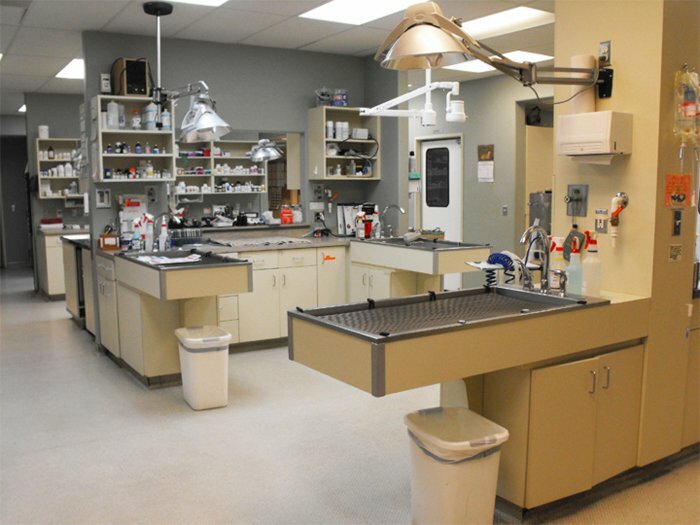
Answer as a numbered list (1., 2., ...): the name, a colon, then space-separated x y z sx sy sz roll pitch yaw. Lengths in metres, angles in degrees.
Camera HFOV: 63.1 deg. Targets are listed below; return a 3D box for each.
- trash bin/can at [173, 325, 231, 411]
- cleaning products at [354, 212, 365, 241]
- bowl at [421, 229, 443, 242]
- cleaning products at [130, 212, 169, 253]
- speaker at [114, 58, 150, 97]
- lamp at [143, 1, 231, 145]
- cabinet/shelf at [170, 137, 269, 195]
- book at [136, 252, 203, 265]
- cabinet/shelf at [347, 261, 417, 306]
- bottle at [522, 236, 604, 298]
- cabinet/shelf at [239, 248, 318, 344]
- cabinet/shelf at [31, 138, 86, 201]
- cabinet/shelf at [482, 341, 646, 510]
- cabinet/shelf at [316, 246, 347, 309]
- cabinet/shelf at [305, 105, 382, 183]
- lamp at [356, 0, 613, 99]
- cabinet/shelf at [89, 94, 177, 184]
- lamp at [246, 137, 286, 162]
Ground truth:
1. trash bin/can: -1.147 0.831 4.484 0.417 0.548 0.432 -4 7 -36
2. cleaning products: 0.109 -0.413 6.235 0.087 0.262 0.098 0 10 6
3. bowl: 0.896 -0.294 6.166 0.209 0.128 0.200 0 3 0
4. cleaning products: -1.943 -0.301 5.535 0.334 0.369 0.875 -5 11 -23
5. speaker: -2.126 -1.836 5.637 0.281 0.349 0.303 2 24 -10
6. lamp: -1.549 -1.714 5.240 0.597 1.208 1.739 -4 11 -19
7. cabinet/shelf: -1.720 -1.226 7.261 1.135 0.656 0.180 1 1 4
8. book: -1.538 -0.023 4.852 0.532 0.056 0.699 -4 10 -21
9. cabinet/shelf: 0.342 0.323 5.882 0.400 0.508 0.740 6 -1 -32
10. bottle: 1.245 0.023 3.362 0.421 0.402 0.418 -5 7 -24
11. cabinet/shelf: -0.779 0.262 5.925 0.928 0.919 0.338 -5 21 -18
12. cabinet/shelf: -4.620 -1.468 8.975 0.379 1.063 1.147 1 4 21
13. cabinet/shelf: 1.168 0.920 3.359 0.574 0.830 1.044 9 6 42
14. cabinet/shelf: -0.192 0.138 6.049 0.367 0.610 0.165 -3 11 -13
15. cabinet/shelf: -0.087 -1.409 6.810 0.871 0.823 0.393 -8 13 -38
16. lamp: 0.740 -1.097 3.063 1.489 0.373 0.773 -10 13 -43
17. cabinet/shelf: -2.196 -1.254 5.681 0.895 0.858 0.319 -2 2 -29
18. lamp: -0.951 -1.284 6.463 0.296 0.236 0.317 1 10 12
